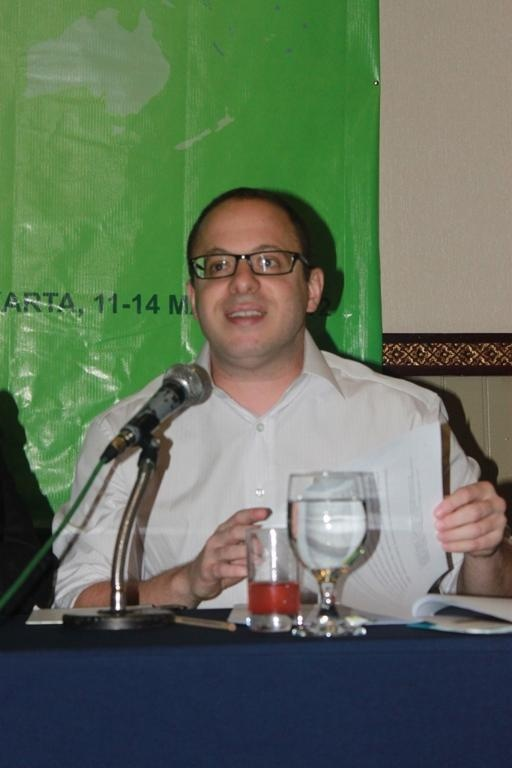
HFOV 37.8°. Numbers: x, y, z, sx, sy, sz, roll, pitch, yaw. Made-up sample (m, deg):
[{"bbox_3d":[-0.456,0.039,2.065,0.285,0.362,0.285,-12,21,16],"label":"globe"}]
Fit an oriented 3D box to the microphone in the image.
[{"bbox_3d":[-0.130,0.039,1.075,0.075,0.066,0.258,20,32,23],"label":"microphone"}]
